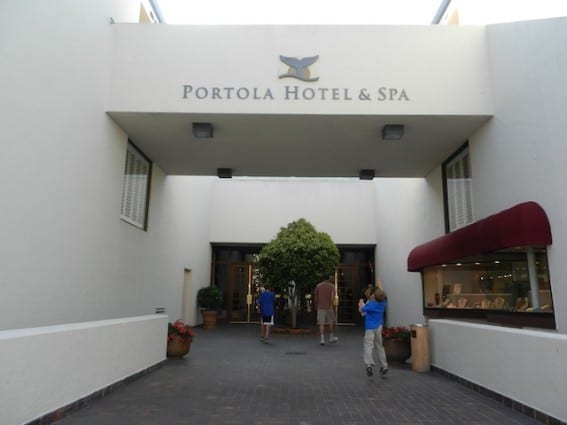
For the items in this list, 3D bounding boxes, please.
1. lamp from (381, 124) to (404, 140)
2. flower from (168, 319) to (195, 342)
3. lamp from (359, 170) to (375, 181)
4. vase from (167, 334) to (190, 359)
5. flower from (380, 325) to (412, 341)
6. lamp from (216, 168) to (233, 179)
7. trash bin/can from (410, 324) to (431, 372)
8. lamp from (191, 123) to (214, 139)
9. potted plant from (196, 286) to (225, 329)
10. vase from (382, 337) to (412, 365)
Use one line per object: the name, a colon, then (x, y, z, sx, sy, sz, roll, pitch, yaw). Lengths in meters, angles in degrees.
lamp: (2.481, -1.810, 8.670, 0.505, 0.241, 0.373, -2, -11, 13)
flower: (-2.451, 2.804, 9.332, 0.591, 0.595, 0.639, 2, -4, 9)
lamp: (2.534, -1.136, 11.588, 0.547, 0.178, 0.582, 0, -11, 4)
vase: (-2.508, 3.161, 9.200, 0.513, 0.415, 0.483, 5, -18, -16)
flower: (2.602, 2.794, 8.932, 0.396, 0.250, 0.332, -3, -6, 23)
lamp: (-1.772, -1.193, 11.714, 0.449, 0.282, 0.336, 1, 8, -3)
trash bin/can: (2.901, 2.859, 8.174, 0.386, 0.915, 0.371, -3, -10, 21)
lamp: (-1.828, -1.851, 8.828, 0.477, 0.208, 0.566, 2, -11, -7)
potted plant: (-3.409, 4.187, 17.059, 1.552, 1.736, 1.590, 1, -16, -31)
vase: (2.621, 3.161, 8.855, 0.485, 0.445, 0.566, 2, -17, -1)
